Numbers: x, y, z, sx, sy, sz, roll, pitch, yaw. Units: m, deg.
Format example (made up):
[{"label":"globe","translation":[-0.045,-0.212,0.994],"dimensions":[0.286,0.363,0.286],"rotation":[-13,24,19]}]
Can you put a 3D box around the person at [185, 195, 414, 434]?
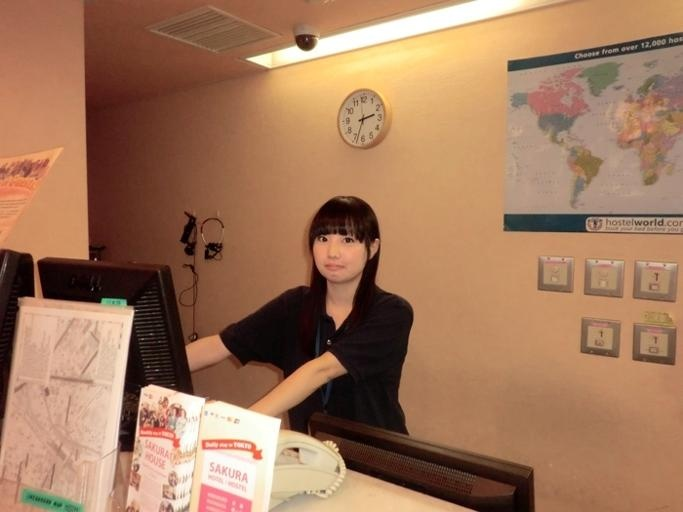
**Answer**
[{"label":"person","translation":[-0.112,0.221,2.217],"dimensions":[0.787,1.015,0.520],"rotation":[6,-7,-36]}]

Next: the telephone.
[{"label":"telephone","translation":[-0.095,0.573,1.542],"dimensions":[0.252,0.138,0.145],"rotation":[-17,19,-20]}]

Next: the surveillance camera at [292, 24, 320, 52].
[{"label":"surveillance camera","translation":[-0.210,-1.273,3.116],"dimensions":[0.143,0.133,0.091],"rotation":[3,-5,-3]}]

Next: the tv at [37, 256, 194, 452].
[{"label":"tv","translation":[-0.756,0.307,1.568],"dimensions":[0.250,0.479,0.458],"rotation":[9,-3,22]}]

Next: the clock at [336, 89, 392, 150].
[{"label":"clock","translation":[0.160,-0.873,3.388],"dimensions":[0.352,0.387,0.073],"rotation":[8,2,37]}]
